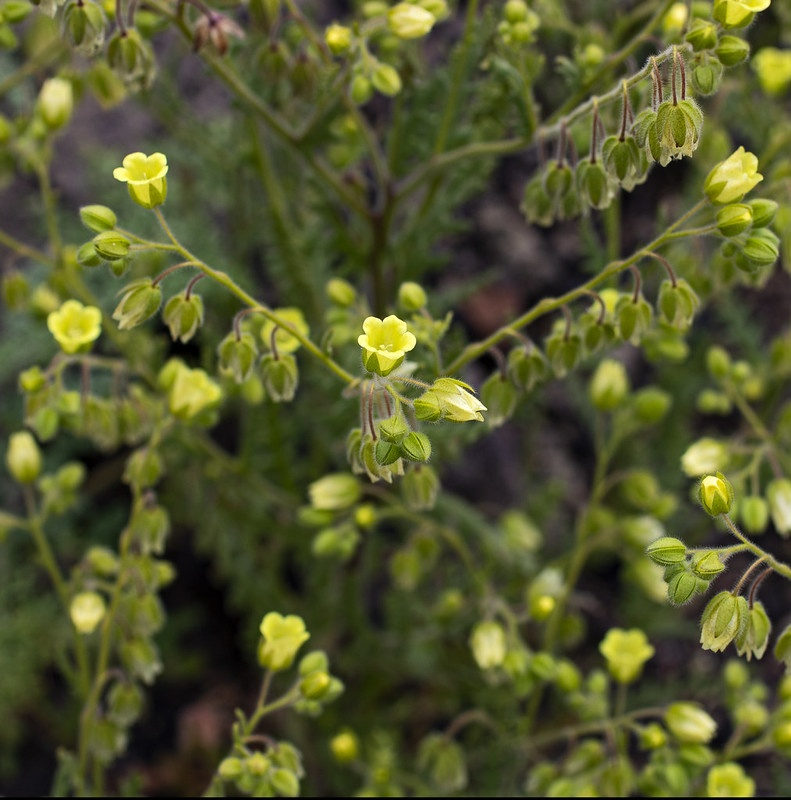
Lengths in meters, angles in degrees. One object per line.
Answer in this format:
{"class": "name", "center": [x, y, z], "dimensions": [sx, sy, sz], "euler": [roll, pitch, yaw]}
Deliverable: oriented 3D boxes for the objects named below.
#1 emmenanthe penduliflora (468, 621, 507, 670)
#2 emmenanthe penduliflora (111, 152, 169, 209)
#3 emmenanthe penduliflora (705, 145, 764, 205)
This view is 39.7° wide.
{"class": "emmenanthe penduliflora", "center": [0.085, 0.227, 0.984], "dimensions": [0.032, 0.061, 0.047], "euler": [-8, 56, 3]}
{"class": "emmenanthe penduliflora", "center": [-0.197, -0.174, 0.858], "dimensions": [0.039, 0.038, 0.047], "euler": [7, 76, 23]}
{"class": "emmenanthe penduliflora", "center": [0.270, -0.178, 0.880], "dimensions": [0.027, 0.058, 0.034], "euler": [1, 14, -17]}
